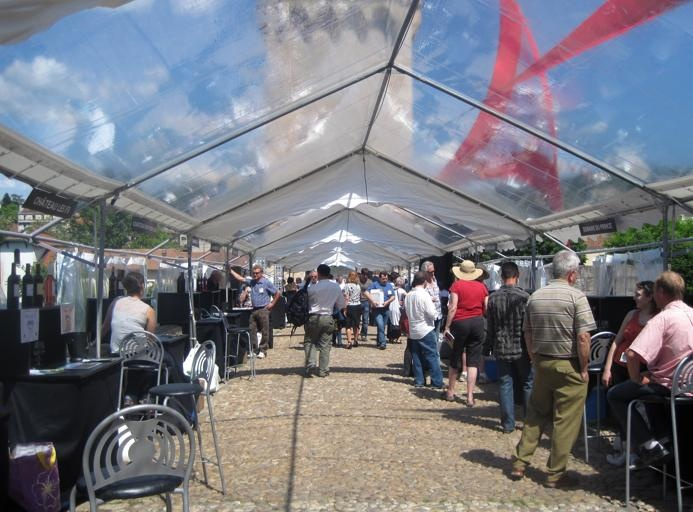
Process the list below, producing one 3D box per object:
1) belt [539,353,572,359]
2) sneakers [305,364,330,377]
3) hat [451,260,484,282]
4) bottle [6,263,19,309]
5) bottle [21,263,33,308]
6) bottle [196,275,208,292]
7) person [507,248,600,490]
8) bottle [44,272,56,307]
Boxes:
[{"bbox_3d":[2.307,1.087,6.117,0.310,0.053,0.066,0,-7,18],"label":"belt"},{"bbox_3d":[-0.618,2.382,11.744,0.574,0.268,0.214,1,-8,20],"label":"sneakers"},{"bbox_3d":[2.119,0.241,9.682,0.486,0.408,0.882,0,-7,14],"label":"hat"},{"bbox_3d":[-3.647,0.321,6.154,0.134,0.502,0.417,6,-8,-31],"label":"bottle"},{"bbox_3d":[-3.661,0.329,6.465,0.142,0.513,0.357,6,-8,-30],"label":"bottle"},{"bbox_3d":[-3.527,0.667,13.724,0.309,0.324,0.582,5,-6,-7],"label":"bottle"},{"bbox_3d":[2.322,1.204,6.220,0.836,2.588,0.360,-1,-7,25],"label":"person"},{"bbox_3d":[-3.545,0.397,6.710,0.130,0.374,0.348,5,-8,-28],"label":"bottle"}]
